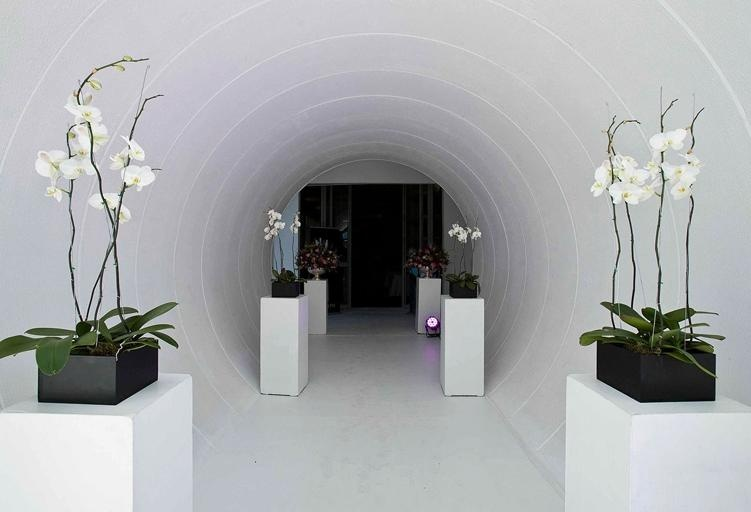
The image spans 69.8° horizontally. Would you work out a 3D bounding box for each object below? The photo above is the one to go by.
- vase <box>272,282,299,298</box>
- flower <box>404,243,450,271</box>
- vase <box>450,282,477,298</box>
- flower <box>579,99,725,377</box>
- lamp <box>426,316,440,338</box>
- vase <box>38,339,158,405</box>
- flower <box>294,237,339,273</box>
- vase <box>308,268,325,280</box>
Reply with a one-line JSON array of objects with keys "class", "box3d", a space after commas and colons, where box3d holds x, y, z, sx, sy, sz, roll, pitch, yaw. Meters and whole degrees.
[{"class": "vase", "box3d": [-1.170, 0.441, 7.056, 0.366, 0.194, 0.271, -1, 5, -13]}, {"class": "flower", "box3d": [1.094, 0.072, 11.224, 0.660, 0.546, 0.660, 3, -5, -10]}, {"class": "vase", "box3d": [1.160, 0.468, 7.113, 0.212, 0.144, 0.229, 2, -2, -2]}, {"class": "flower", "box3d": [2.092, -0.232, 4.042, 0.850, 1.987, 1.693, 2, 5, 28]}, {"class": "lamp", "box3d": [1.147, 1.403, 10.797, 0.272, 0.360, 0.409, 0, 5, 3]}, {"class": "vase", "box3d": [-1.731, 0.777, 3.445, 0.340, 0.222, 0.525, 1, -2, -3]}, {"class": "flower", "box3d": [-1.224, 0.051, 11.517, 0.747, 0.679, 0.809, 1, -3, -4]}, {"class": "vase", "box3d": [-1.245, 0.373, 11.576, 0.383, 0.309, 0.401, 2, -6, -20]}]
